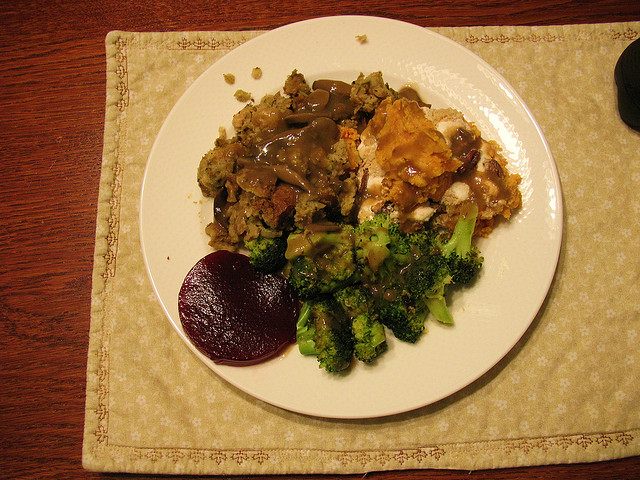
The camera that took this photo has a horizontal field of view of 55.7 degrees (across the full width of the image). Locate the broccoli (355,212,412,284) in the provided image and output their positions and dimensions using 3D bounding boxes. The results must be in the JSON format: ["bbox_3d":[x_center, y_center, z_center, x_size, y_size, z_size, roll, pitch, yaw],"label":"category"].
[{"bbox_3d":[0.434,0.069,4.504,0.400,0.174,0.434,-33,85,-1],"label":"broccoli"}]

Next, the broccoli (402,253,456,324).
[{"bbox_3d":[0.805,0.367,4.515,0.370,0.249,0.516,-2,85,2],"label":"broccoli"}]

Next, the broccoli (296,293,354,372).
[{"bbox_3d":[0.031,0.671,4.514,0.406,0.590,0.458,-6,37,-6],"label":"broccoli"}]

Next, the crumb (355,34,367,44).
[{"bbox_3d":[0.334,-1.561,4.717,0.059,0.018,0.065,-2,95,5],"label":"crumb"}]

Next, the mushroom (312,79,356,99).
[{"bbox_3d":[0.096,-1.188,4.717,0.254,0.080,0.149,21,67,1],"label":"mushroom"}]

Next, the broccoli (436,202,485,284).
[{"bbox_3d":[1.088,-0.025,4.533,0.281,0.403,0.636,24,109,33],"label":"broccoli"}]

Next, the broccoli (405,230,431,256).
[{"bbox_3d":[0.752,0.017,4.517,0.164,0.064,0.180,-3,73,9],"label":"broccoli"}]

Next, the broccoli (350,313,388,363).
[{"bbox_3d":[0.357,0.730,4.544,0.274,0.143,0.326,-3,90,-2],"label":"broccoli"}]

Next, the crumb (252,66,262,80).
[{"bbox_3d":[-0.492,-1.305,4.731,0.066,0.022,0.069,40,93,4],"label":"crumb"}]

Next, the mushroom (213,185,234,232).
[{"bbox_3d":[-0.734,-0.224,4.614,0.212,0.066,0.293,3,94,21],"label":"mushroom"}]

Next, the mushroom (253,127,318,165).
[{"bbox_3d":[-0.272,-0.706,4.505,0.388,0.092,0.264,-24,80,1],"label":"mushroom"}]

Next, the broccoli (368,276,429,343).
[{"bbox_3d":[0.604,0.476,4.626,0.429,0.462,0.434,3,39,8],"label":"broccoli"}]

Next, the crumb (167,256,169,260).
[{"bbox_3d":[-1.172,0.141,4.677,0.017,0.006,0.026,17,88,18],"label":"crumb"}]
